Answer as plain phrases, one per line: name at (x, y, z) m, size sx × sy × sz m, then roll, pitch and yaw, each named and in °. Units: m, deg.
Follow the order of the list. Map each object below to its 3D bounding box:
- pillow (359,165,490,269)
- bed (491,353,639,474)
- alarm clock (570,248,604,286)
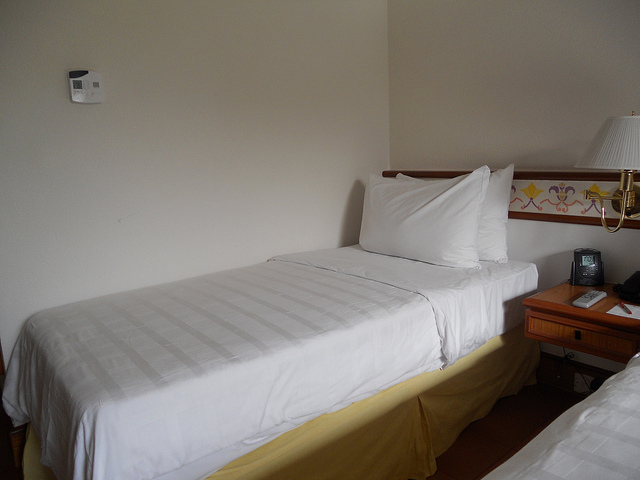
pillow at (0.631, -0.147, 2.898) m, size 0.287 × 0.618 × 0.952 m, roll 4°, pitch 3°, yaw -41°
bed at (0.776, 0.543, 1.265) m, size 0.452 × 0.117 × 0.280 m, roll -16°, pitch 18°, yaw -7°
alarm clock at (1.506, 0.125, 2.431) m, size 0.157 × 0.223 × 0.122 m, roll 1°, pitch 27°, yaw 35°
